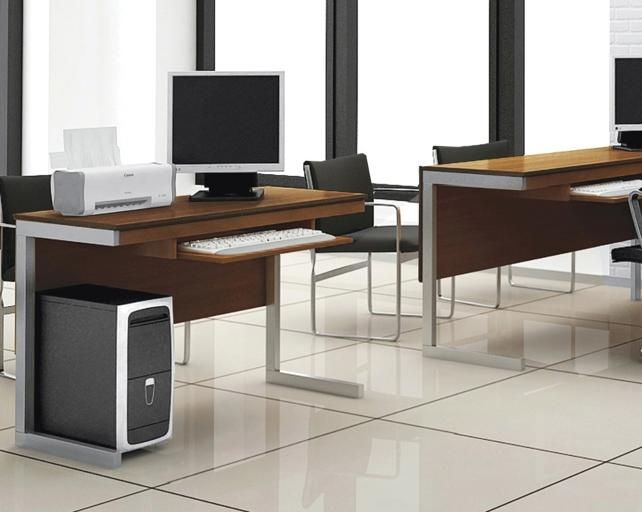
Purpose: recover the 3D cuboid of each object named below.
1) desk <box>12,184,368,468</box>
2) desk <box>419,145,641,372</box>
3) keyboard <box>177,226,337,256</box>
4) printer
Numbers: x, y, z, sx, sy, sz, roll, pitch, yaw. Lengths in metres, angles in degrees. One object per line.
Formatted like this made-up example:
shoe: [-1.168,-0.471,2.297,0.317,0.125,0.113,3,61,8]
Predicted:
desk: [-0.541,0.291,2.646,0.496,0.648,1.191,5,8,35]
desk: [1.276,-0.070,3.880,1.615,1.112,0.727,-8,10,-40]
keyboard: [-0.226,-0.059,2.547,0.273,0.053,0.602,5,10,37]
printer: [-0.760,-0.252,2.445,0.145,0.145,0.433,11,16,30]
